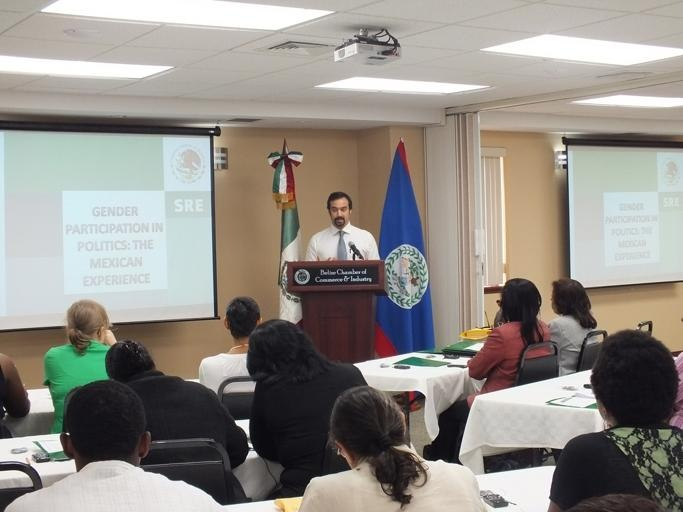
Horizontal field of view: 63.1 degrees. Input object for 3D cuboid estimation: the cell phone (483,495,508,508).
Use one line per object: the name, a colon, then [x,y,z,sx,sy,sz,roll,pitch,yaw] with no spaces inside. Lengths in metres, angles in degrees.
cell phone: [0.572,0.912,2.064,0.086,0.016,0.090,-3,2,-5]

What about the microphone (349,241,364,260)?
microphone: [0.152,-0.055,6.108,0.046,0.196,0.068,-35,4,-2]

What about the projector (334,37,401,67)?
projector: [0.186,-1.436,3.871,0.422,0.169,0.263,-4,3,-31]

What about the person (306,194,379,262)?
person: [-0.018,-0.321,6.565,0.725,1.270,0.387,-2,-14,-1]

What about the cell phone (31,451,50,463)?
cell phone: [-1.425,0.964,2.657,0.070,0.019,0.117,-4,3,-37]

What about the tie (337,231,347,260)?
tie: [0.005,-0.122,6.096,0.111,0.317,0.103,-2,3,-1]
